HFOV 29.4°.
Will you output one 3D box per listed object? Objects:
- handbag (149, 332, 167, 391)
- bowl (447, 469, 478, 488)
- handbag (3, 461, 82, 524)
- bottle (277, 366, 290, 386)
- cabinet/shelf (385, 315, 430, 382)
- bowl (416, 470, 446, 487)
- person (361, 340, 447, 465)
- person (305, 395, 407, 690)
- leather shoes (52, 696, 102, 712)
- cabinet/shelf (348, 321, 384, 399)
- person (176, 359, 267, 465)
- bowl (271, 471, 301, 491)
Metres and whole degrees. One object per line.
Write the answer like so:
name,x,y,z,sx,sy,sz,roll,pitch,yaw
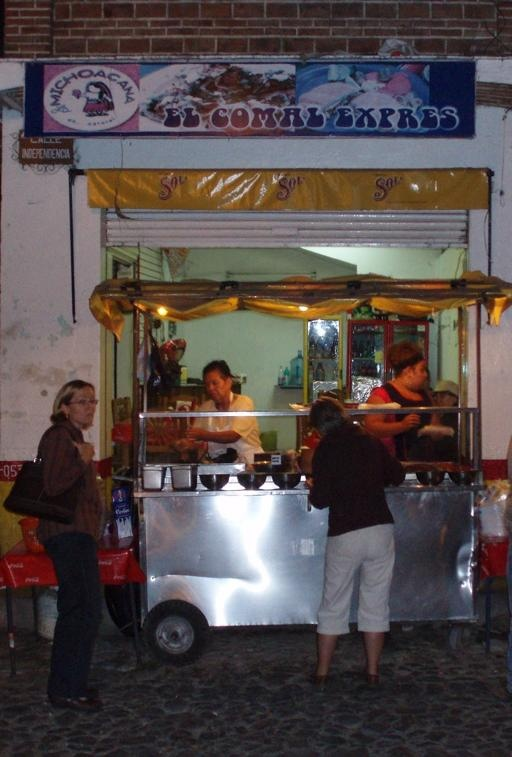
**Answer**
handbag,-0.683,-0.127,6.716,0.111,0.406,0.317,-1,4,-6
bowl,1.201,0.576,5.759,0.153,0.080,0.104,0,4,13
handbag,-1.095,0.580,5.022,0.376,0.312,0.190,1,4,16
bottle,0.312,-0.039,11.533,0.139,0.211,0.333,-1,4,0
cabinet/shelf,1.478,-0.184,9.938,0.452,0.811,0.263,-2,3,-21
bowl,1.013,0.577,5.754,0.105,0.075,0.099,-2,-6,0
person,0.946,0.329,6.249,0.492,1.067,0.339,-8,19,-39
person,0.537,0.858,5.305,0.504,1.504,0.333,0,4,6
leather shoes,-0.902,1.649,4.969,0.254,0.102,0.093,1,-1,-4
cabinet/shelf,1.106,-0.136,9.967,0.357,0.952,0.118,1,13,7
person,-0.227,0.205,6.548,0.506,0.664,0.734,-1,4,-1
bowl,0.172,0.580,5.639,0.106,0.083,0.120,2,-5,-11
